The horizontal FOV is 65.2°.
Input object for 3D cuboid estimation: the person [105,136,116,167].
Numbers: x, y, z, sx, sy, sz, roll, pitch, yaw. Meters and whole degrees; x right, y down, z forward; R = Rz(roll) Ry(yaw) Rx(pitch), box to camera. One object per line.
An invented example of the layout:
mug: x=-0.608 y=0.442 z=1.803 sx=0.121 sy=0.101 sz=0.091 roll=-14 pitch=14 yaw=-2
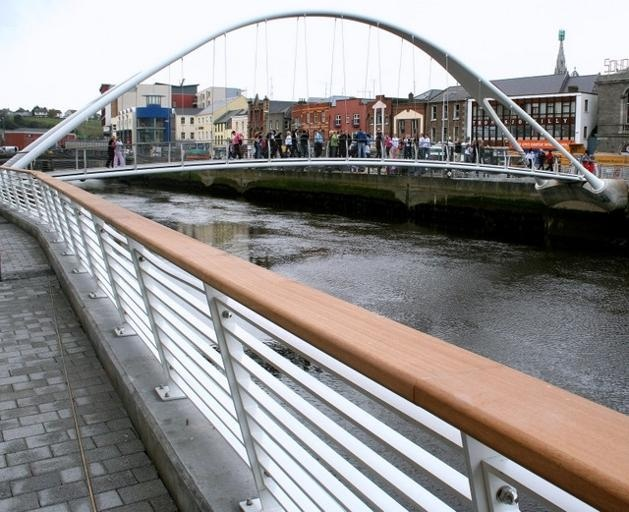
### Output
person: x=-8.726 y=-4.409 z=20.992 sx=0.456 sy=1.261 sz=0.317 roll=-6 pitch=12 yaw=-21
